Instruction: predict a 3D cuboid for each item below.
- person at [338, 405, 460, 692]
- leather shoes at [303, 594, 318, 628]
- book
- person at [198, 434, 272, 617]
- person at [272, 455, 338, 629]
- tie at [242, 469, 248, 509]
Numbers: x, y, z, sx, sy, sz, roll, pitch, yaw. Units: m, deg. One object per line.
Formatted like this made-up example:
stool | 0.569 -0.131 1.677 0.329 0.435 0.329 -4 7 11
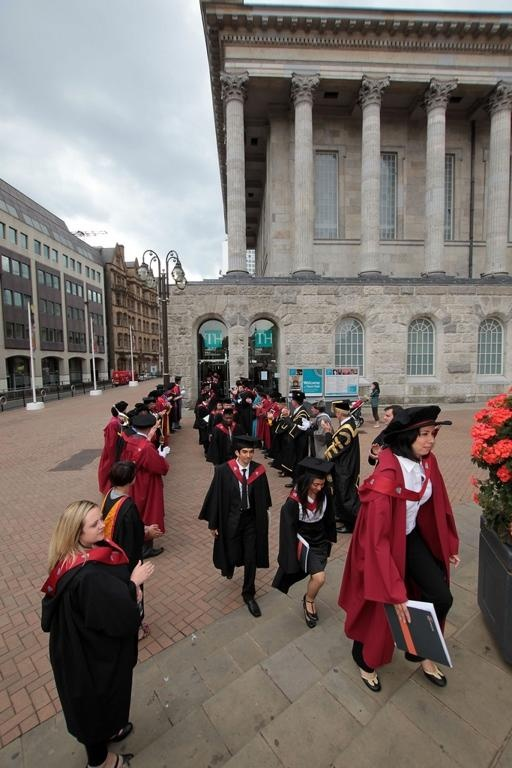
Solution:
person | 1.137 1.276 3.847 0.948 2.278 0.751 -6 7 -37
leather shoes | 0.520 2.184 4.665 0.108 0.287 0.078 11 -45 -28
book | 1.125 1.703 3.410 0.190 0.492 0.437 -5 6 -27
person | -0.215 1.413 5.115 0.652 1.751 0.495 0 6 23
person | 0.516 1.497 4.665 0.546 1.601 0.658 3 8 43
tie | -0.118 1.096 5.038 0.065 0.371 0.082 -2 6 -2
